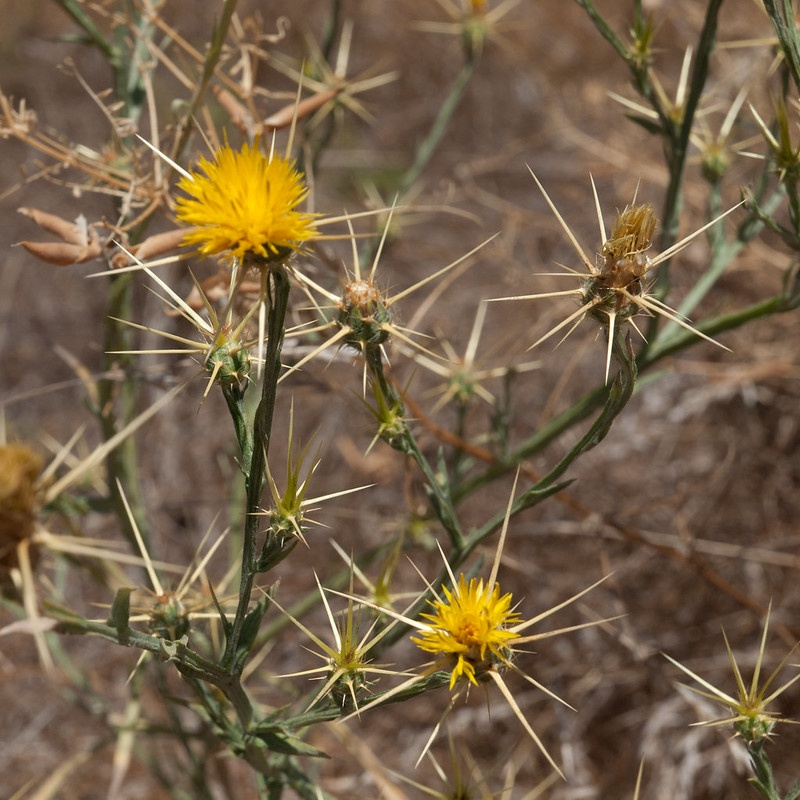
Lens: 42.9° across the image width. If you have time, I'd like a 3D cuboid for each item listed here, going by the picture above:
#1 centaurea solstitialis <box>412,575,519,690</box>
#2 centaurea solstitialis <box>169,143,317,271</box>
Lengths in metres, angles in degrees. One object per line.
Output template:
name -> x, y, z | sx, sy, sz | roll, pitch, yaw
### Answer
centaurea solstitialis -> 0.095, 0.372, 1.684 | 0.164, 0.169, 0.149 | 18, 84, 41
centaurea solstitialis -> -0.221, -0.289, 1.563 | 0.234, 0.199, 0.188 | 10, 92, 4
